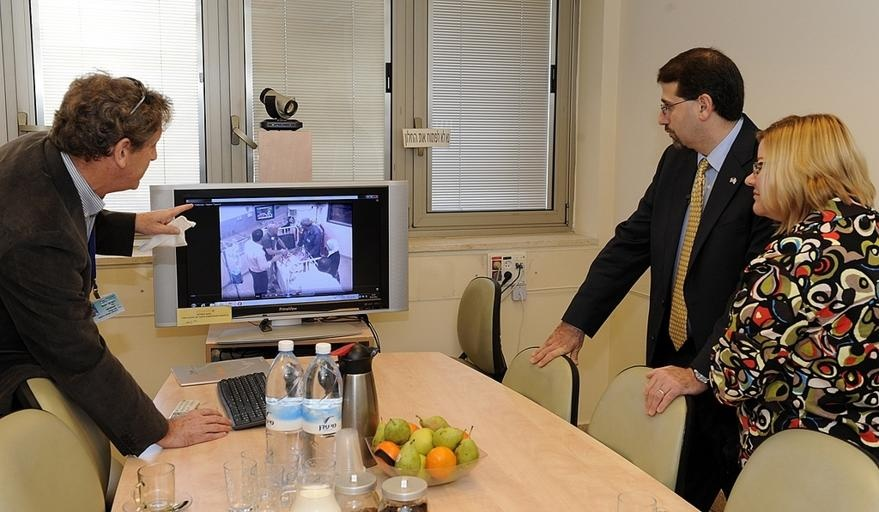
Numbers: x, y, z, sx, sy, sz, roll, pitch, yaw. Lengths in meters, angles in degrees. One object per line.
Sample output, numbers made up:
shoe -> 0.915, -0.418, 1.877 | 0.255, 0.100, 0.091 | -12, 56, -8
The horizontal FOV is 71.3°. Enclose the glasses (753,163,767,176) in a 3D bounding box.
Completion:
glasses -> 1.322, -0.360, 2.531 | 0.026, 0.075, 0.074 | 1, 4, 19

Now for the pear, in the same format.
pear -> -0.050, 0.671, 2.159 | 0.277, 0.139, 0.273 | -2, 4, -27

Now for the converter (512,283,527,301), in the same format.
converter -> 0.570, 0.249, 4.262 | 0.124, 0.112, 0.030 | 1, -1, -9

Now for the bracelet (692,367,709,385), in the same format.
bracelet -> 1.110, 0.508, 2.599 | 0.017, 0.053, 0.055 | -30, 12, -35

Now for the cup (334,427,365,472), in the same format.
cup -> -0.298, 0.639, 2.063 | 0.113, 0.117, 0.126 | -1, -1, -37

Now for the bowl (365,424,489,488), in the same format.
bowl -> -0.053, 0.693, 2.170 | 0.319, 0.155, 0.321 | 1, 17, 0

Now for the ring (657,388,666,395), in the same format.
ring -> 0.897, 0.542, 2.474 | 0.025, 0.017, 0.025 | 6, -17, 2

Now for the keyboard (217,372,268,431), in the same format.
keyboard -> -0.830, 0.611, 2.609 | 0.177, 0.045, 0.307 | -1, 17, -25

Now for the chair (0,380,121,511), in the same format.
chair -> -1.447, 0.752, 2.378 | 0.289, 0.562, 0.630 | -5, 14, -21

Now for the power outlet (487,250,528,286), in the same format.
power outlet -> 0.459, 0.078, 4.231 | 0.254, 0.243, 0.040 | 0, 5, -14
